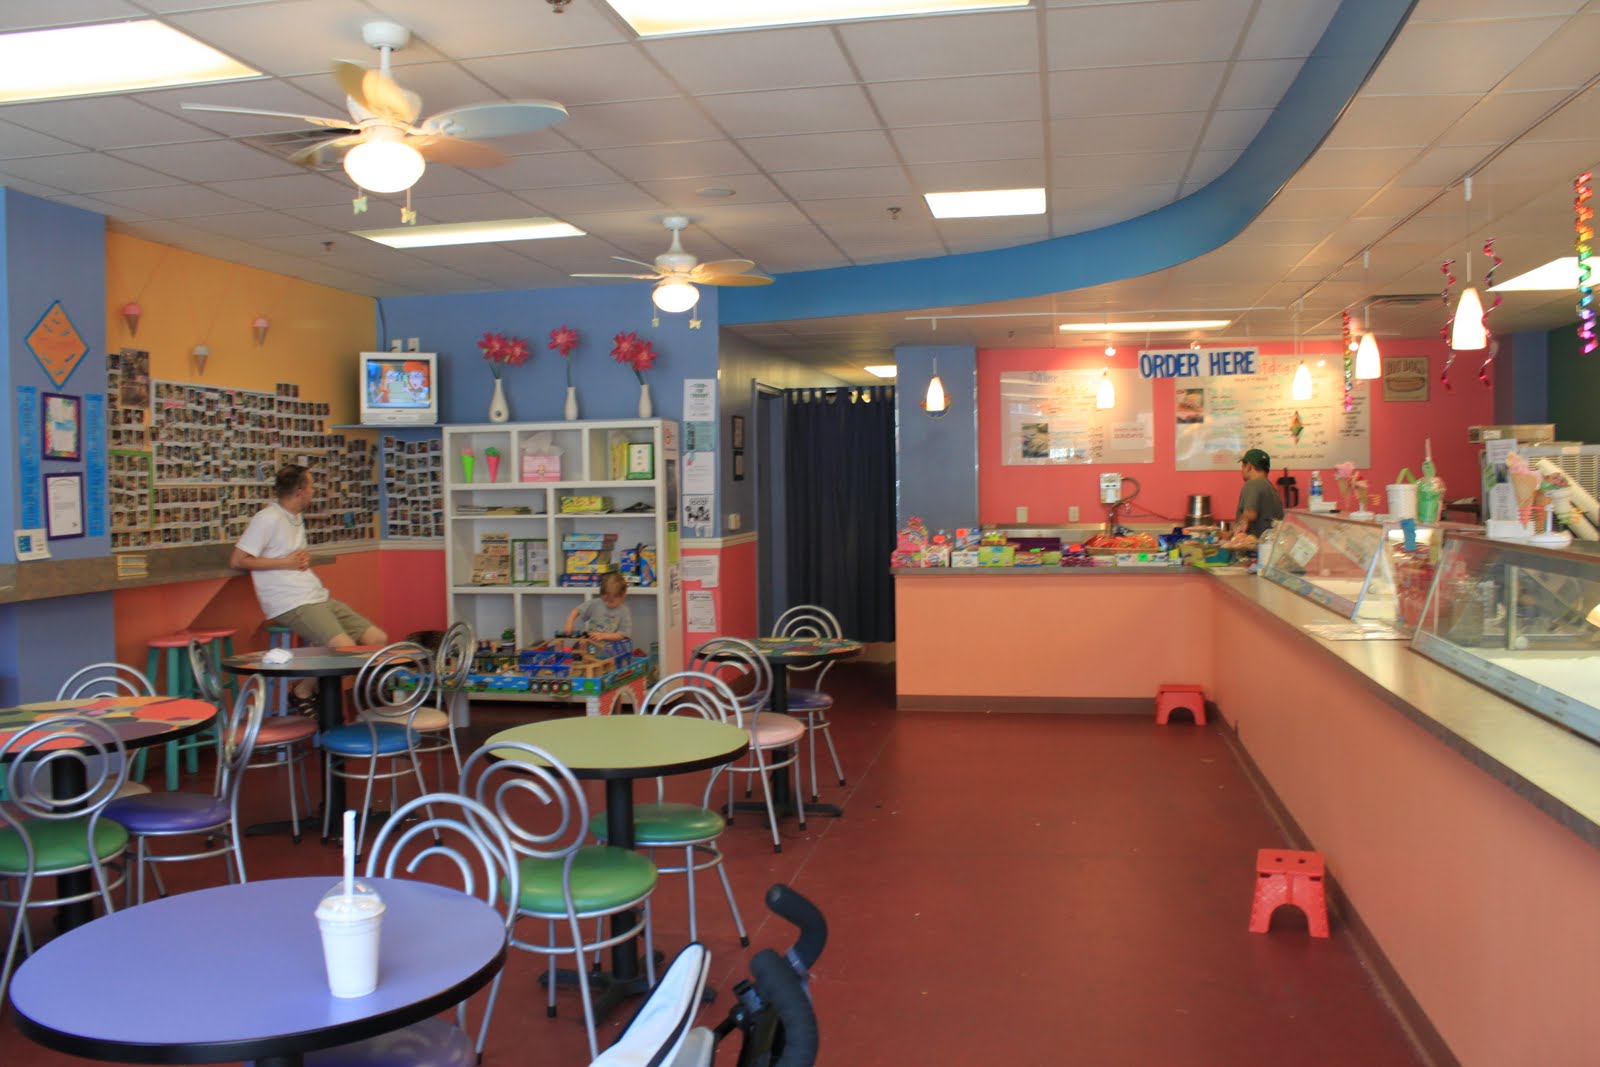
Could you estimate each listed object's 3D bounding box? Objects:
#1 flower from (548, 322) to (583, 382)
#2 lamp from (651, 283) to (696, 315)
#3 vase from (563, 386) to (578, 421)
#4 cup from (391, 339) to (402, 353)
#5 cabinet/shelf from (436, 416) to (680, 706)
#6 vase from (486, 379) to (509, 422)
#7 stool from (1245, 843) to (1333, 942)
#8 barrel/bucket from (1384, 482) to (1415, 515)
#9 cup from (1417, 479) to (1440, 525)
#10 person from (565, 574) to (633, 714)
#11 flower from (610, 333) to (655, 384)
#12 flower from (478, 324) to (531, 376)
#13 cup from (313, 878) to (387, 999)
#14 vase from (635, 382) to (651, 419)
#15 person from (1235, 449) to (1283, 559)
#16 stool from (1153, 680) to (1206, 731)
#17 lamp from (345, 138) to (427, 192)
[{"bbox_3d":[-2.017,-1.532,9.932,0.299,0.507,0.295,-2,8,-6],"label":"flower"},{"bbox_3d":[-0.835,-1.591,7.707,0.233,0.178,0.181,-4,9,-21],"label":"lamp"},{"bbox_3d":[-1.959,-1.116,9.919,0.113,0.289,0.235,-3,8,-11],"label":"vase"},{"bbox_3d":[-3.479,-1.620,9.984,0.106,0.117,0.407,-4,8,-20],"label":"cup"},{"bbox_3d":[-1.918,0.194,9.420,2.636,2.827,0.766,0,-1,5],"label":"cabinet/shelf"},{"bbox_3d":[-2.614,-1.153,10.019,0.170,0.374,0.288,-3,8,-10],"label":"vase"},{"bbox_3d":[2.264,1.646,5.403,0.382,0.283,0.374,0,1,28],"label":"stool"},{"bbox_3d":[3.113,-0.184,5.984,0.177,0.144,0.175,1,4,0],"label":"barrel/bucket"},{"bbox_3d":[3.147,-0.165,5.792,0.107,0.213,0.237,3,9,26],"label":"cup"},{"bbox_3d":[-1.538,0.802,8.826,0.525,0.966,0.579,2,12,-21],"label":"person"},{"bbox_3d":[-1.411,-1.496,9.832,0.361,0.436,0.283,0,8,5],"label":"flower"},{"bbox_3d":[-2.588,-1.525,9.994,0.384,0.370,0.377,20,-28,1],"label":"flower"},{"bbox_3d":[-1.281,1.130,3.300,0.162,0.295,0.224,-4,9,-22],"label":"cup"},{"bbox_3d":[-1.314,-1.130,9.798,0.137,0.282,0.351,-2,8,-8],"label":"vase"},{"bbox_3d":[3.758,-0.304,9.523,0.355,0.736,1.634,2,8,21],"label":"person"},{"bbox_3d":[2.841,1.254,8.632,0.331,0.229,0.317,-1,-5,9],"label":"stool"},{"bbox_3d":[-1.830,-1.629,5.102,0.304,0.213,0.222,-3,8,-11],"label":"lamp"}]
